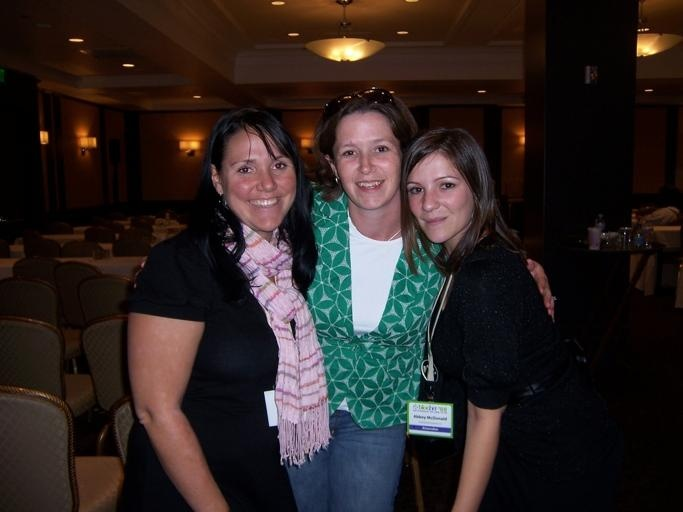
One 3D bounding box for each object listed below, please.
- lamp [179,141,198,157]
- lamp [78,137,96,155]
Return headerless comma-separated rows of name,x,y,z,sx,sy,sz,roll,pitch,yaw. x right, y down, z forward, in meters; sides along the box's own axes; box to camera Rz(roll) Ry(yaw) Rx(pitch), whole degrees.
lamp,-3.971,-2.832,14.366,0.644,0.493,0.353,1,9,1
lamp,-5.727,-2.500,12.419,0.269,0.452,0.731,-4,6,-9
